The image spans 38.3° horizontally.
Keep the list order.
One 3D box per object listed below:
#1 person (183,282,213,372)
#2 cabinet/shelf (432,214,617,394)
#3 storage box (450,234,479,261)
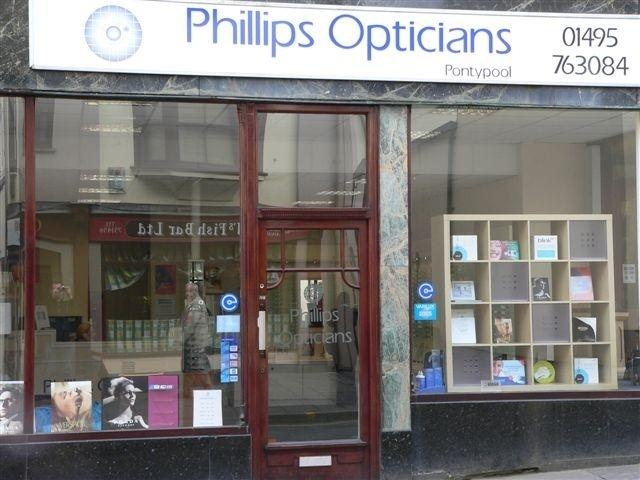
[{"bbox_3d":[-1.451,1.022,10.798,0.305,1.035,0.079,-2,-5,6],"label":"person"},{"bbox_3d":[2.444,0.857,11.378,2.016,1.914,0.585,2,-12,-14],"label":"cabinet/shelf"},{"bbox_3d":[1.762,0.094,11.354,0.316,0.283,0.104,1,-7,-9],"label":"storage box"}]
